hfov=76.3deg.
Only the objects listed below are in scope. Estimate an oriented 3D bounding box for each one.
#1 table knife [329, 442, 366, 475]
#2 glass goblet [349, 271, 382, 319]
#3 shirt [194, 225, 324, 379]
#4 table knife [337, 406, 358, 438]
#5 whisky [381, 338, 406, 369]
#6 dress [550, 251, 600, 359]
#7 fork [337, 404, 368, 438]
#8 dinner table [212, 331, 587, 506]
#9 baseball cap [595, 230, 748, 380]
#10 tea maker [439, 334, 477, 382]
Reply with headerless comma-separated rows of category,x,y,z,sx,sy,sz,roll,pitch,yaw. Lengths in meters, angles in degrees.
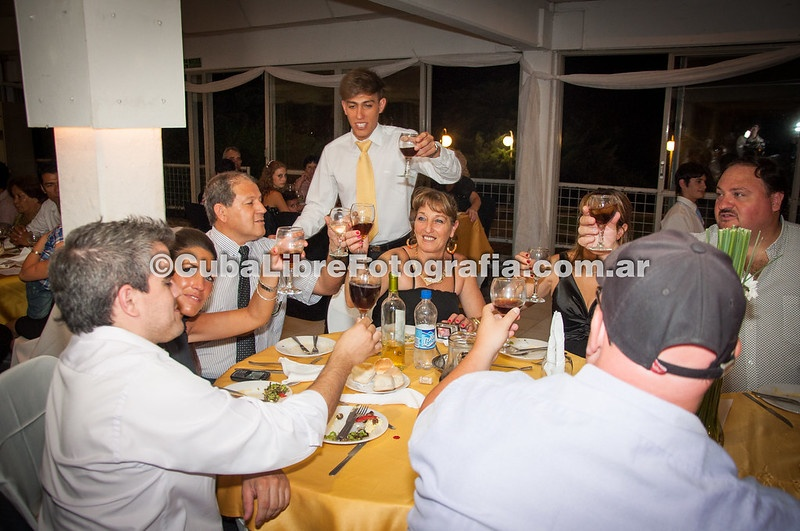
table knife,-0.184,0.672,1.771,0.035,0.013,0.268,7,9,17
glass goblet,-0.164,0.175,2.280,0.133,0.336,0.126,1,18,-10
shirt,-0.765,0.189,2.681,0.422,0.785,0.735,25,20,31
table knife,-0.199,0.586,1.922,0.022,0.023,0.194,8,14,6
whisky,-0.029,0.416,2.434,0.123,0.148,0.126,0,1,6
dress,1.081,0.235,3.077,0.185,0.558,0.237,-1,-19,29
fork,-0.186,0.589,1.934,0.033,0.032,0.228,9,14,11
dinner table,0.046,0.497,2.582,1.178,0.310,1.205,2,9,-3
baseball cap,0.634,0.098,1.197,0.309,0.320,0.147,5,13,24
tea maker,0.259,0.384,2.286,0.129,0.241,0.229,11,14,7
